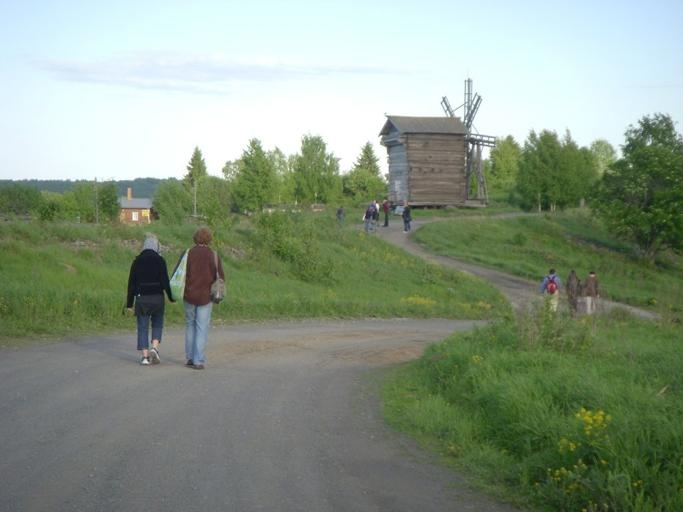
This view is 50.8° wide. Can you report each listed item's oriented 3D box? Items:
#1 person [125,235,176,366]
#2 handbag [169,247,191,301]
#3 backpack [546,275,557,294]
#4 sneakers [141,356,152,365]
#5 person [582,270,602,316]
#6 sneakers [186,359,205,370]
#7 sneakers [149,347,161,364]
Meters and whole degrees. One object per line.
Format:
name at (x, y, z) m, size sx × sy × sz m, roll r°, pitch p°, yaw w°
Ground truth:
person at (-3.746, 0.824, 14.064) m, size 0.822 × 2.453 × 1.155 m, roll 1°, pitch 4°, yaw -16°
handbag at (-3.150, 0.366, 13.958) m, size 0.369 × 0.987 × 0.393 m, roll 2°, pitch 4°, yaw -9°
backpack at (6.938, 0.979, 23.848) m, size 0.266 × 0.447 × 0.416 m, roll 1°, pitch 40°, yaw 9°
sneakers at (-3.693, 1.983, 13.615) m, size 0.194 × 0.124 × 0.249 m, roll 1°, pitch 5°, yaw -29°
person at (8.205, 1.241, 23.739) m, size 0.457 × 1.455 × 0.309 m, roll 4°, pitch -2°, yaw 26°
sneakers at (-2.807, 2.060, 13.668) m, size 0.456 × 0.237 × 0.146 m, roll 4°, pitch 3°, yaw 35°
sneakers at (-3.557, 1.916, 13.746) m, size 0.132 × 0.373 × 0.162 m, roll -6°, pitch 23°, yaw 13°
